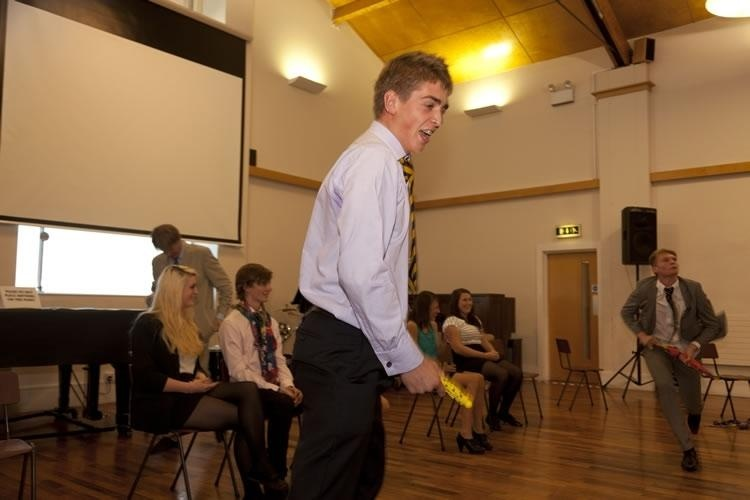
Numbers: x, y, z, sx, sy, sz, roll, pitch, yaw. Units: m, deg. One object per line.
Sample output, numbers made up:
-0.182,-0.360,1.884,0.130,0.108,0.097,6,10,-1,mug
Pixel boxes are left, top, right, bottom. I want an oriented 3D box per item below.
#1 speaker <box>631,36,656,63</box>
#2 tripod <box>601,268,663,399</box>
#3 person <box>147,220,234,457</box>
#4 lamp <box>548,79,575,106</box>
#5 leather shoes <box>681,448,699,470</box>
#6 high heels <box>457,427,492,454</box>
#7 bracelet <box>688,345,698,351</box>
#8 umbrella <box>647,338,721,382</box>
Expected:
4.800,-3.538,9.722,0.359,0.501,0.213,-1,-1,26,speaker
4.389,1.315,9.021,0.924,2.244,1.170,2,14,36,tripod
-2.180,0.870,6.426,0.903,2.363,0.741,2,9,-1,person
3.591,-3.009,10.432,0.523,0.503,0.224,-2,-4,37,lamp
3.049,2.007,5.264,0.128,0.120,0.270,-11,-6,22,leather shoes
1.054,2.009,5.766,0.310,0.162,0.179,-6,-5,27,high heels
3.270,0.986,5.593,0.067,0.073,0.070,1,-3,-16,bracelet
3.224,1.126,5.737,0.491,0.396,0.694,-1,-2,30,umbrella
